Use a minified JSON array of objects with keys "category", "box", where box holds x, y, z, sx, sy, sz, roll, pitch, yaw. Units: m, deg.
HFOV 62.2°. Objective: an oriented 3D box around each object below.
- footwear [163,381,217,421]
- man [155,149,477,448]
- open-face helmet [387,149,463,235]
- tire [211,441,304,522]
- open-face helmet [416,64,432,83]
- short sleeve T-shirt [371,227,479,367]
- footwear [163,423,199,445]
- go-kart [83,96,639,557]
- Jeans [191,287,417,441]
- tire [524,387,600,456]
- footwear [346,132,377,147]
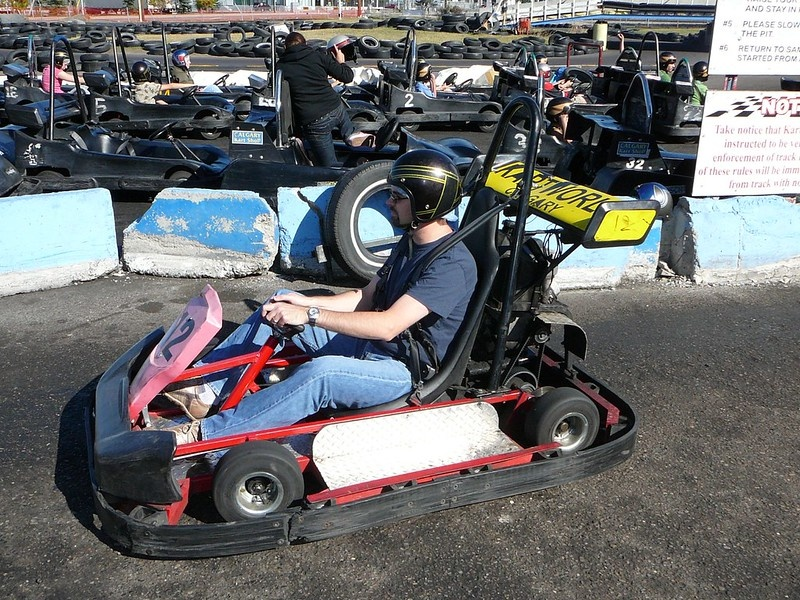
[{"category":"footwear","box":[-1.165,0.563,3.761,0.352,0.152,0.118,23,18,-30]},{"category":"man","box":[-0.509,-0.037,3.677,1.825,1.283,0.955,-12,24,-18]},{"category":"open-face helmet","box":[0.147,-0.605,3.599,0.442,0.381,0.323,11,24,-7]},{"category":"tire","box":[-0.706,0.901,3.282,0.425,0.401,0.157,2,15,-8]},{"category":"open-face helmet","box":[0.418,-4.037,11.784,0.282,0.348,0.363,4,1,9]},{"category":"short sleeve T-shirt","box":[0.149,0.002,3.603,0.350,0.580,0.599,18,11,-28]},{"category":"footwear","box":[-1.153,0.702,3.499,0.145,0.042,0.108,-5,7,-33]},{"category":"go-kart","box":[-0.087,0.048,3.970,3.164,1.943,2.065,-4,26,-18]},{"category":"Jeans","box":[-0.505,0.381,3.612,1.102,0.413,0.754,-6,21,-17]},{"category":"tire","box":[0.906,0.698,3.771,0.336,0.318,0.115,-7,14,-14]},{"category":"footwear","box":[-0.456,-1.950,8.081,0.384,0.142,0.145,-1,10,-35]}]
